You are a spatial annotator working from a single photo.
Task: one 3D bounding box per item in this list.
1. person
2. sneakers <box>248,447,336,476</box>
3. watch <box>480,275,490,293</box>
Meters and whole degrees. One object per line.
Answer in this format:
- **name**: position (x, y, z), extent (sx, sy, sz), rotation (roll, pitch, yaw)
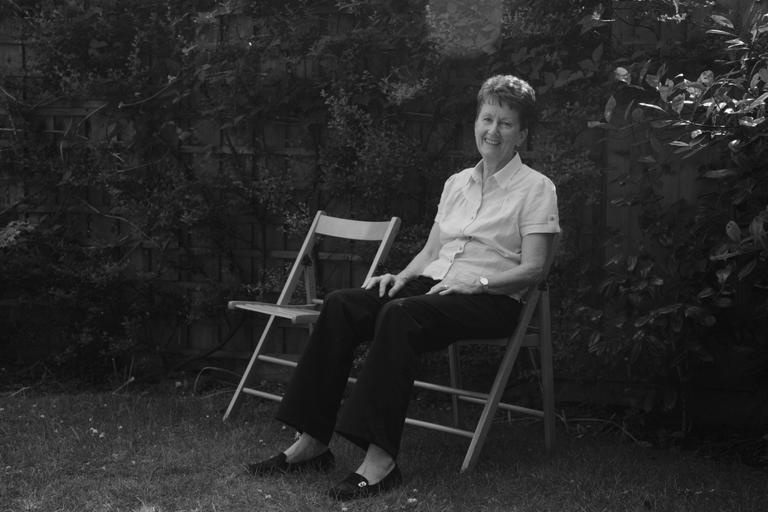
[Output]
- **person**: position (0.201, 0.096, 4.519), extent (1.262, 2.074, 0.739), rotation (-3, 12, -43)
- **sneakers**: position (-0.463, 1.022, 4.517), extent (0.428, 0.121, 0.141), rotation (2, -10, -19)
- **watch**: position (0.515, 0.145, 4.559), extent (0.041, 0.065, 0.063), rotation (-1, -27, 4)
